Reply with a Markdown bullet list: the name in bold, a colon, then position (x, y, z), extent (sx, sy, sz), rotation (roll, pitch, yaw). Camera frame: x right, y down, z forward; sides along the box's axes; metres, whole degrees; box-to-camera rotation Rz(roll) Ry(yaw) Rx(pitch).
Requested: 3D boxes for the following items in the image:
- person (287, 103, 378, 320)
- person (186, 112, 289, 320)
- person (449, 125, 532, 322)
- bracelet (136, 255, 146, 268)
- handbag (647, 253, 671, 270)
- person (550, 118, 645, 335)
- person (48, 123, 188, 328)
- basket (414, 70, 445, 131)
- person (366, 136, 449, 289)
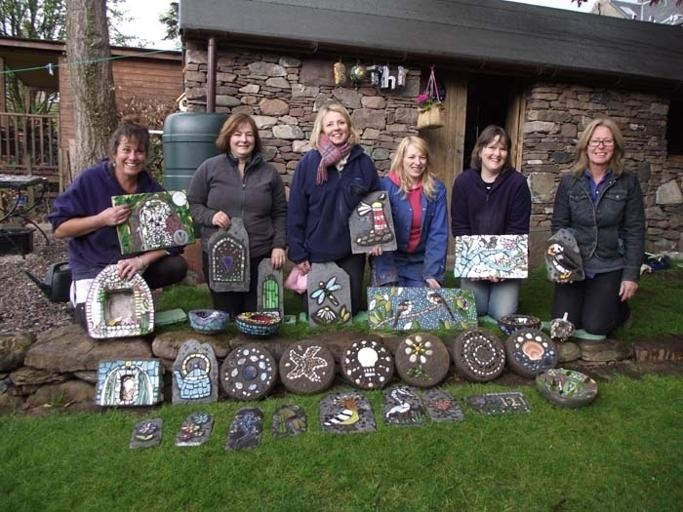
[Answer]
- **person**: position (-0.085, -0.426, 4.773), extent (0.806, 1.922, 0.411), rotation (3, 14, 3)
- **person**: position (-0.926, -0.378, 4.691), extent (0.899, 1.819, 0.515), rotation (-2, 15, -16)
- **person**: position (1.422, -0.306, 4.898), extent (0.764, 1.847, 0.714), rotation (6, 15, 14)
- **bracelet**: position (-1.677, 0.054, 4.306), extent (0.048, 0.085, 0.075), rotation (-13, 5, -23)
- **handbag**: position (4.751, 0.121, 7.611), extent (0.385, 0.110, 0.283), rotation (-6, 23, -38)
- **person**: position (2.367, -0.256, 4.717), extent (0.792, 1.975, 0.582), rotation (9, 16, 24)
- **person**: position (-1.900, -0.295, 4.346), extent (0.990, 1.679, 0.555), rotation (-6, 16, -28)
- **basket**: position (1.238, -2.206, 7.047), extent (0.356, 0.848, 0.695), rotation (4, 15, 8)
- **person**: position (0.702, -0.422, 4.927), extent (0.670, 1.424, 0.430), rotation (7, 15, 18)
